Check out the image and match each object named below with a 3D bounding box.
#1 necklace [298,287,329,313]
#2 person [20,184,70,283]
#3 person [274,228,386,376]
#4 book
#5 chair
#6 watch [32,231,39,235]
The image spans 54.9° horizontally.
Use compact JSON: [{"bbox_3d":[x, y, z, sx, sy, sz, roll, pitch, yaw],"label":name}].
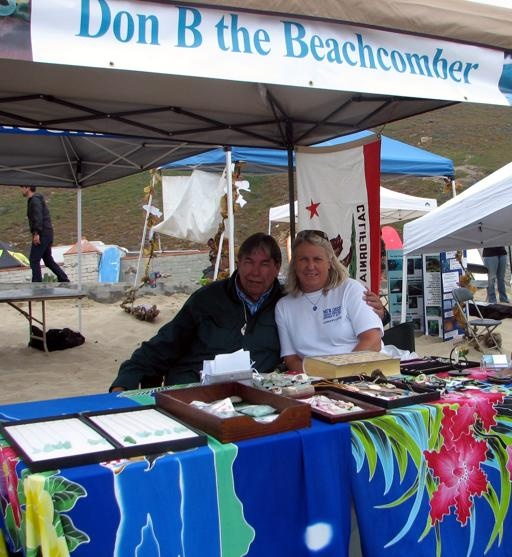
[{"bbox_3d":[0.349,0.124,2.985,0.158,0.089,0.136,0,15,3],"label":"necklace"},{"bbox_3d":[-4.000,-0.795,9.934,1.026,2.151,1.093,-7,19,-30],"label":"person"},{"bbox_3d":[0.344,0.175,2.923,0.758,0.825,0.677,-15,-9,29],"label":"person"},{"bbox_3d":[0.408,0.351,2.258,0.384,0.101,0.442,0,10,-7],"label":"book"},{"bbox_3d":[3.417,0.670,7.662,0.566,0.825,0.678,10,14,43],"label":"chair"},{"bbox_3d":[-4.184,-0.868,9.361,0.095,0.068,0.084,0,6,-12],"label":"watch"}]
